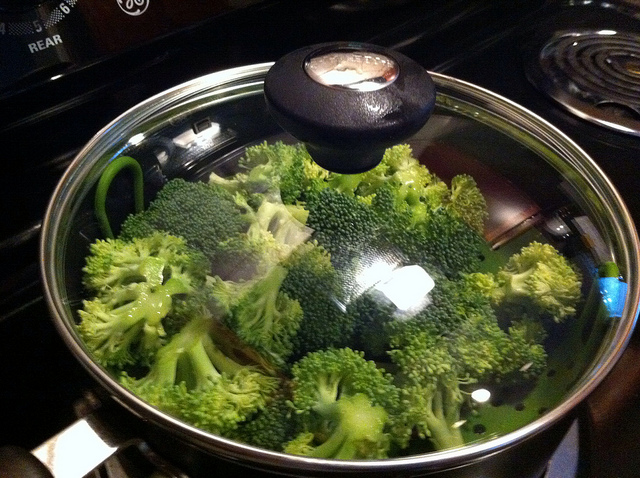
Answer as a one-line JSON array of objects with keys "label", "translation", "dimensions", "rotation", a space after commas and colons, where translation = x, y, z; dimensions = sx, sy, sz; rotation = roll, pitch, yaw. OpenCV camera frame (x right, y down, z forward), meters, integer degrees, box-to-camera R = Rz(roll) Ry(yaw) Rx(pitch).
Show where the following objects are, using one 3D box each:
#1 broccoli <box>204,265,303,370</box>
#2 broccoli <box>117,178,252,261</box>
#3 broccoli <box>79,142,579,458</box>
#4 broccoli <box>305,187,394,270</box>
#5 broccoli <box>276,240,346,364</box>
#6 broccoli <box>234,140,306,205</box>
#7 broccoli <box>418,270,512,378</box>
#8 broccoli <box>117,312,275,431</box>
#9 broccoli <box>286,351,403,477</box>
[{"label": "broccoli", "translation": [-0.057, 0.067, 0.448], "dimensions": [0.071, 0.086, 0.103], "rotation": [-6, 21, -14]}, {"label": "broccoli", "translation": [-0.145, -0.028, 0.473], "dimensions": [0.123, 0.086, 0.095], "rotation": [-7, 26, -13]}, {"label": "broccoli", "translation": [-0.014, 0.106, 0.490], "dimensions": [0.388, 0.203, 0.331], "rotation": [-23, 51, -39]}, {"label": "broccoli", "translation": [0.032, -0.011, 0.445], "dimensions": [0.069, 0.031, 0.079], "rotation": [-34, 66, -15]}, {"label": "broccoli", "translation": [-0.006, 0.054, 0.420], "dimensions": [0.046, 0.092, 0.076], "rotation": [-4, 23, -9]}, {"label": "broccoli", "translation": [-0.052, -0.078, 0.515], "dimensions": [0.059, 0.079, 0.067], "rotation": [-15, 32, -20]}, {"label": "broccoli", "translation": [0.137, 0.089, 0.442], "dimensions": [0.078, 0.040, 0.099], "rotation": [12, 64, -28]}, {"label": "broccoli", "translation": [-0.105, 0.115, 0.367], "dimensions": [0.091, 0.027, 0.091], "rotation": [36, 66, 12]}, {"label": "broccoli", "translation": [0.020, 0.153, 0.392], "dimensions": [0.079, 0.038, 0.089], "rotation": [-19, 67, -13]}]
